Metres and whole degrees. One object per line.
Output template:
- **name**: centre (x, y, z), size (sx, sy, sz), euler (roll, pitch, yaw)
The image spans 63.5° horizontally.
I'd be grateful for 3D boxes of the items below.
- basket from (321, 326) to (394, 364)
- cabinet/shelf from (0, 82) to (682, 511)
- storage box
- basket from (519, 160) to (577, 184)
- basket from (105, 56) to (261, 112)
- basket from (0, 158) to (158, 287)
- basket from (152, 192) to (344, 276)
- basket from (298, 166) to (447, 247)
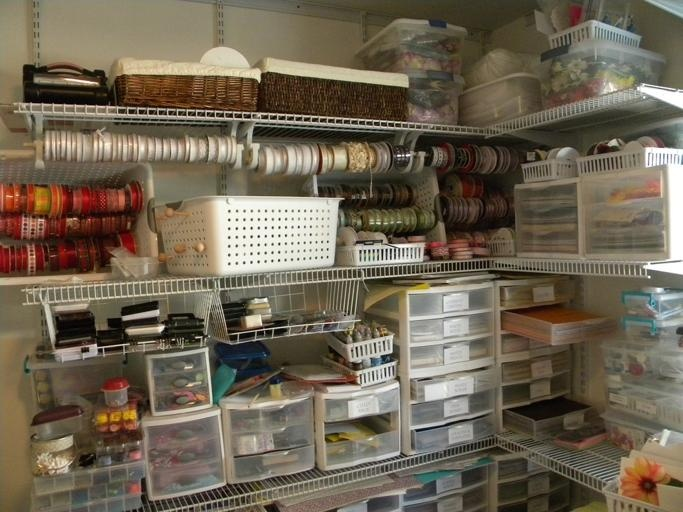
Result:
- **basket**: centre (0.076, 0.356, 2.214), size (0.202, 0.050, 0.143), euler (-1, 1, -32)
- **cabinet/shelf**: centre (-0.030, 0.161, 2.138), size (2.560, 1.257, 1.261), euler (-1, 0, -24)
- **storage box**: centre (0.681, -0.810, 2.292), size (0.993, 0.243, 0.603), euler (-5, -3, -8)
- **basket**: centre (0.864, -0.346, 2.304), size (0.114, 0.054, 0.149), euler (1, -3, -26)
- **basket**: centre (-0.563, -0.588, 2.024), size (0.403, 0.108, 0.254), euler (-2, 8, -22)
- **basket**: centre (-0.989, -0.125, 2.060), size (0.591, 0.404, 0.352), euler (-6, 3, -15)
- **basket**: centre (-0.323, -0.076, 2.084), size (0.536, 0.179, 0.378), euler (-2, 0, -26)
- **basket**: centre (0.180, -0.229, 2.500), size (0.574, 0.270, 0.367), euler (0, 19, -18)
